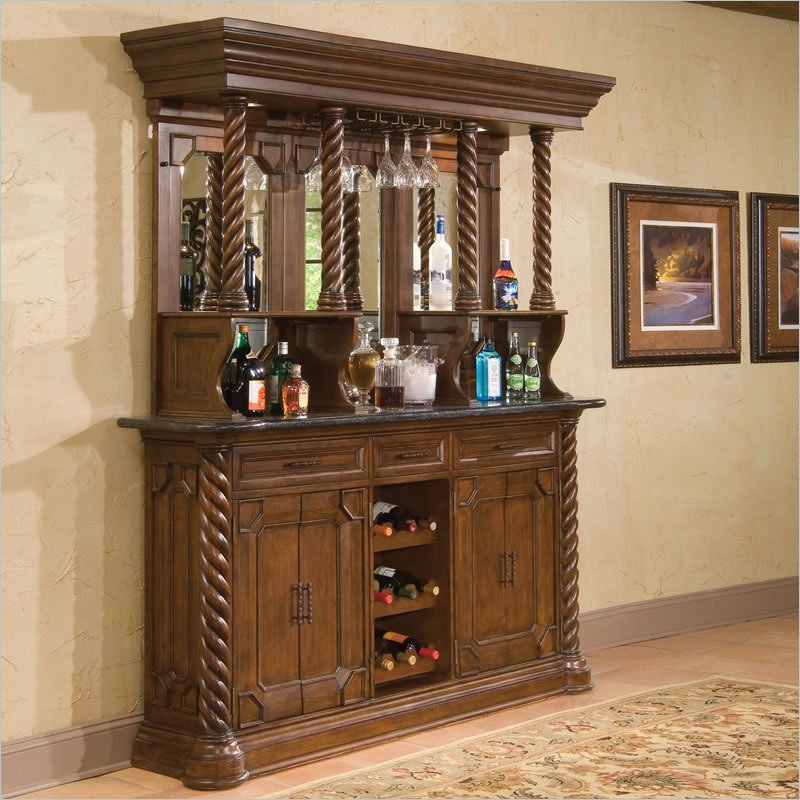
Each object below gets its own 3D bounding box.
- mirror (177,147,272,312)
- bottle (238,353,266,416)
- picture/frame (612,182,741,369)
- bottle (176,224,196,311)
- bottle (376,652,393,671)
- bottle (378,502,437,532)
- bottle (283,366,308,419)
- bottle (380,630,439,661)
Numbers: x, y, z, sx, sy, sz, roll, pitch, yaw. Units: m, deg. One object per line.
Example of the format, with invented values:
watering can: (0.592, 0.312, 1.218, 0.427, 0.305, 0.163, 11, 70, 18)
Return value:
mirror: (-0.660, -0.625, 3.315, 0.104, 0.595, 0.356, -2, -4, 42)
bottle: (-0.501, -0.051, 3.056, 0.082, 0.218, 0.143, -1, -3, 26)
picture/frame: (1.551, -0.685, 4.933, 1.087, 1.054, 0.094, 2, -3, -33)
bottle: (-0.783, -0.482, 3.235, 0.028, 0.305, 0.072, -1, -3, 30)
bottle: (-0.067, 1.019, 3.472, 0.077, 0.046, 0.095, 3, 5, -24)
bottle: (0.034, 0.475, 3.566, 0.061, 0.053, 0.219, -20, 15, -18)
bottle: (-0.380, -0.031, 3.182, 0.086, 0.197, 0.233, 1, -2, -7)
bottle: (0.043, 0.991, 3.575, 0.065, 0.062, 0.258, -19, 15, -26)
